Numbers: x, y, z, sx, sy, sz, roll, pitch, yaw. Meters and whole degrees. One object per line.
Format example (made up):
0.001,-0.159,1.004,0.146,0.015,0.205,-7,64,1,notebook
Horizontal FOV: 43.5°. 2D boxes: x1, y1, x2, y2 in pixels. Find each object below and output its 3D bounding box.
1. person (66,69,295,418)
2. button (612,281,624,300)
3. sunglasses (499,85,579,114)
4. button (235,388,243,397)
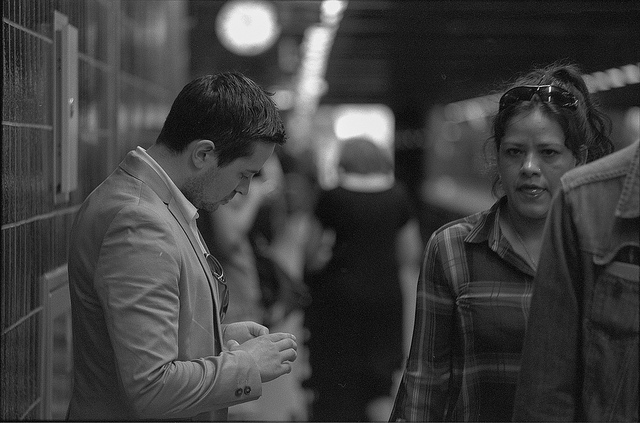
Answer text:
-0.547,0.070,3.084,0.786,1.963,0.986,0,6,-17,person
0.810,0.216,2.183,0.010,0.041,0.027,12,-2,-33,button
0.656,-0.337,2.404,0.231,0.078,0.033,2,-8,12,sunglasses
-0.230,0.512,2.262,0.021,0.024,0.005,11,-2,-15,button
